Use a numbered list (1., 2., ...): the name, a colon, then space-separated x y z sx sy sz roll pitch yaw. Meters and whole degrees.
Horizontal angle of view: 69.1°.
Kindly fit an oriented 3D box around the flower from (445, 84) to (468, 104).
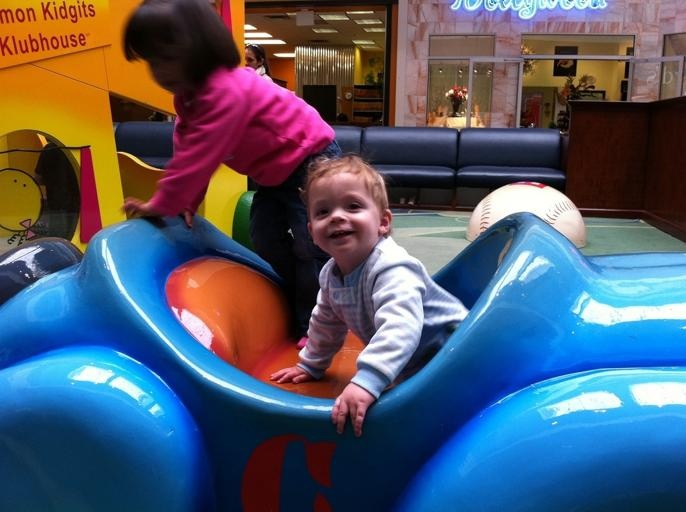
1. flower: 1.873 -2.653 8.228 0.343 0.186 0.323 2 39 -8

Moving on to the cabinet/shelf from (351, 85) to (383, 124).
1. cabinet/shelf: 0.549 -3.403 11.178 0.673 0.865 1.242 2 16 0
